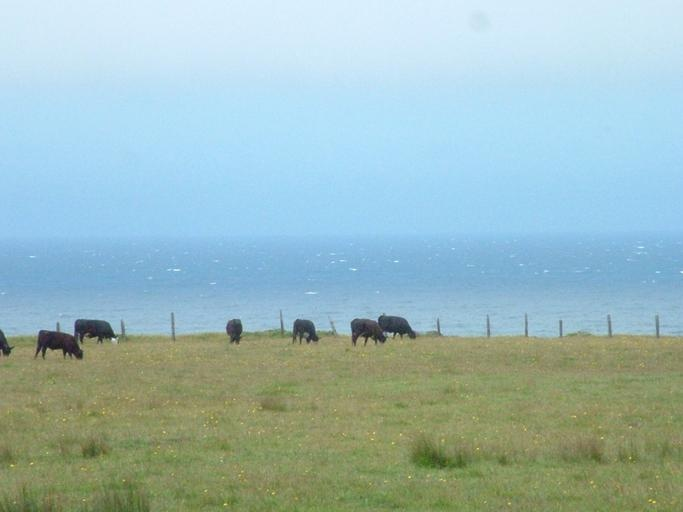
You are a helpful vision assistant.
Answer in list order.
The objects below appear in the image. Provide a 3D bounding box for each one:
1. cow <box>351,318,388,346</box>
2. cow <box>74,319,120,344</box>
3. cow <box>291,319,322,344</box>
[{"bbox_3d":[1.771,5.338,86.011,2.322,1.755,1.976,-2,4,-11],"label":"cow"},{"bbox_3d":[-17.251,5.369,87.874,2.815,1.812,3.850,0,4,10],"label":"cow"},{"bbox_3d":[-2.560,5.339,86.787,1.694,1.730,3.730,-1,4,-2],"label":"cow"}]
